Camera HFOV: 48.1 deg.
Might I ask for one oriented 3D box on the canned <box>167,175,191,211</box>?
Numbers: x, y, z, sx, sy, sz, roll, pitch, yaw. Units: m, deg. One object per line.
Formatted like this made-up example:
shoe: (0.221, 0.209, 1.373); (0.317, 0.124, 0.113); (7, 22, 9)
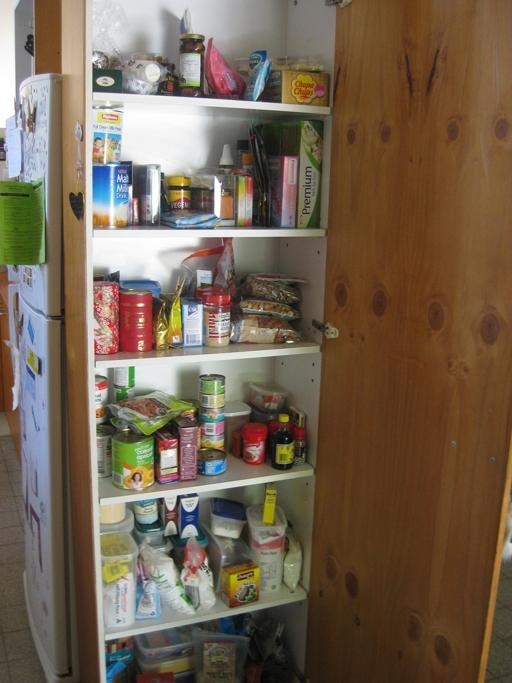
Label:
canned: (-0.195, -0.375, 1.432); (0.068, 0.125, 0.078); (-4, 15, -14)

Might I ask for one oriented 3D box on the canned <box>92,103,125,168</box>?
canned: (-0.328, -0.448, 1.255); (0.029, 0.119, 0.081); (9, 16, 42)

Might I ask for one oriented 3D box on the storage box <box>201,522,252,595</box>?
storage box: (-0.094, 0.599, 1.716); (0.120, 0.179, 0.173); (-7, 16, -20)

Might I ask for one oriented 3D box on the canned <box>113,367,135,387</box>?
canned: (-0.356, 0.094, 1.542); (0.054, 0.067, 0.057); (-1, 11, -19)

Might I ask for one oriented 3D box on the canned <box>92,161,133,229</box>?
canned: (-0.322, -0.342, 1.335); (0.116, 0.148, 0.123); (-7, 20, -31)

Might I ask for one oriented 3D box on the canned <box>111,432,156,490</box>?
canned: (-0.303, 0.289, 1.459); (0.111, 0.143, 0.114); (5, 7, 34)

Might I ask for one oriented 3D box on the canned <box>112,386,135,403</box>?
canned: (-0.362, 0.138, 1.554); (0.042, 0.054, 0.046); (2, -1, 4)
